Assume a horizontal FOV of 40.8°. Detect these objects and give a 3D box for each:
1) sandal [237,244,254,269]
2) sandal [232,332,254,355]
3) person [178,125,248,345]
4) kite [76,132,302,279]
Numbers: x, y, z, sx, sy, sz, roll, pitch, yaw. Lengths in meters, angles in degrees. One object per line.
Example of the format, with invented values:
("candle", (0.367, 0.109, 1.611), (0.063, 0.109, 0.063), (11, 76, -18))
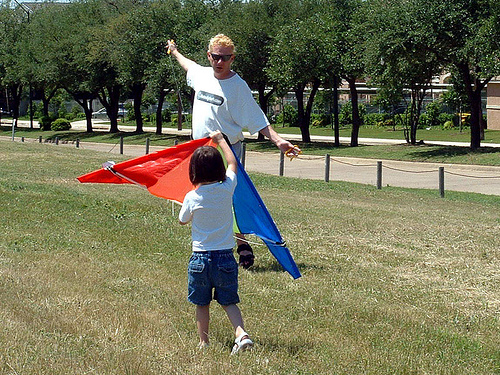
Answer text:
("sandal", (-0.052, 0.952, 9.411), (0.145, 0.408, 0.106), (-9, -26, 4))
("sandal", (-0.069, 1.568, 6.860), (0.104, 0.138, 0.291), (8, -34, -23))
("person", (-0.400, 0.585, 7.238), (0.707, 2.070, 1.197), (3, 10, -6))
("kite", (-0.651, -0.058, 8.781), (3.181, 1.452, 0.878), (20, 36, 1))
